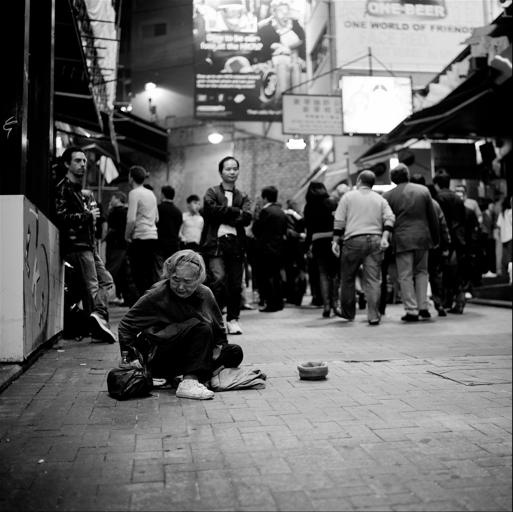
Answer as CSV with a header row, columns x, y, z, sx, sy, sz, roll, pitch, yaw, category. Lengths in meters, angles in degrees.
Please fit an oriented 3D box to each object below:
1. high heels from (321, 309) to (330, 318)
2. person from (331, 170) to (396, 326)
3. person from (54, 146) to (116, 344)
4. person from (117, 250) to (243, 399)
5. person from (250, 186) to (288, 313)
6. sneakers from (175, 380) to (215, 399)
x,y,z,sx,sy,sz,roll,pitch,yaw,category
1.051,0.873,10.145,0.104,0.130,0.115,1,2,12,high heels
1.423,-0.135,8.982,0.846,2.059,0.683,0,0,28,person
-1.899,-0.115,7.288,0.623,2.109,0.600,-1,0,-18,person
-0.512,0.439,4.477,0.818,0.948,0.525,0,0,-1,person
0.243,-0.120,11.712,0.560,2.192,0.461,0,0,1,person
-0.399,0.853,4.306,0.243,0.117,0.106,0,-4,16,sneakers
